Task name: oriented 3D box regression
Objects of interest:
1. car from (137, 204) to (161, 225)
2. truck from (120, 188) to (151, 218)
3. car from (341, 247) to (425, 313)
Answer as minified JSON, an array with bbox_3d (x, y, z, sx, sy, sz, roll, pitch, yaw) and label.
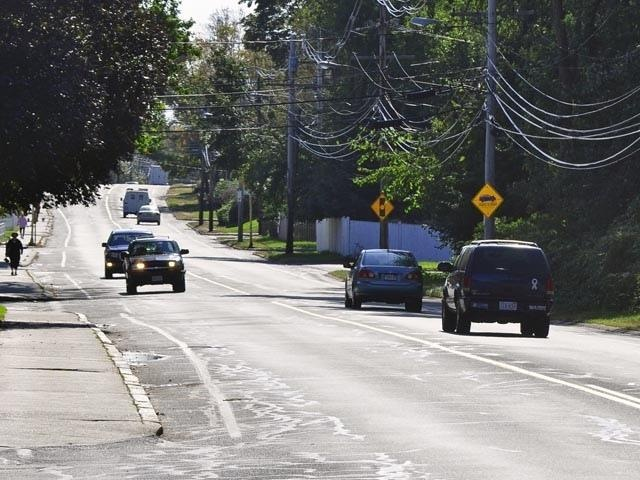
[{"bbox_3d":[-13.382,-2.078,102.881,1.822,1.321,4.132,0,5,-9],"label":"car"},{"bbox_3d":[-15.680,-3.430,112.851,2.043,1.640,2.830,0,5,-4],"label":"truck"},{"bbox_3d":[1.769,1.109,38.734,2.115,1.888,2.846,2,1,-10],"label":"car"}]
